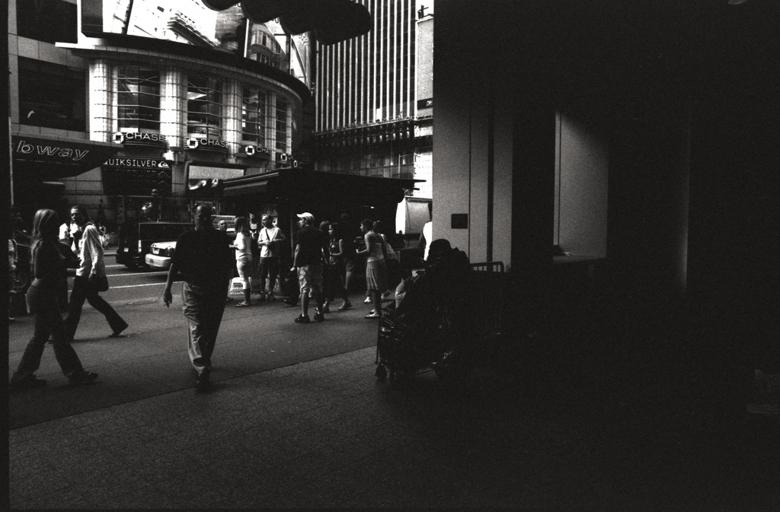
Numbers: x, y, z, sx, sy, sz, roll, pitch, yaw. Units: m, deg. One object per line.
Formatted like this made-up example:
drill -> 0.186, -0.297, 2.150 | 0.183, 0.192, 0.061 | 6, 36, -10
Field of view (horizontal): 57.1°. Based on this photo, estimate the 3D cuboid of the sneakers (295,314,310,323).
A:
sneakers -> -1.860, 1.300, 15.063 | 0.329, 0.183, 0.290 | 0, 3, -4

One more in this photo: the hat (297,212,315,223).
hat -> -1.947, -0.899, 16.410 | 0.327, 0.192, 0.266 | 22, 11, -7

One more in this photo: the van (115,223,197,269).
van -> -6.250, -0.298, 18.935 | 1.938, 1.006, 1.063 | -9, 9, -43

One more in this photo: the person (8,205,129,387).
person -> -5.616, 0.662, 11.747 | 1.112, 2.870, 0.507 | -1, 3, -22

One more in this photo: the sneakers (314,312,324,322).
sneakers -> -1.511, 1.284, 15.272 | 0.170, 0.207, 0.204 | 3, -9, -18

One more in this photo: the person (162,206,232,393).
person -> -3.184, 0.621, 12.109 | 0.957, 2.994, 0.845 | 2, 3, 33
